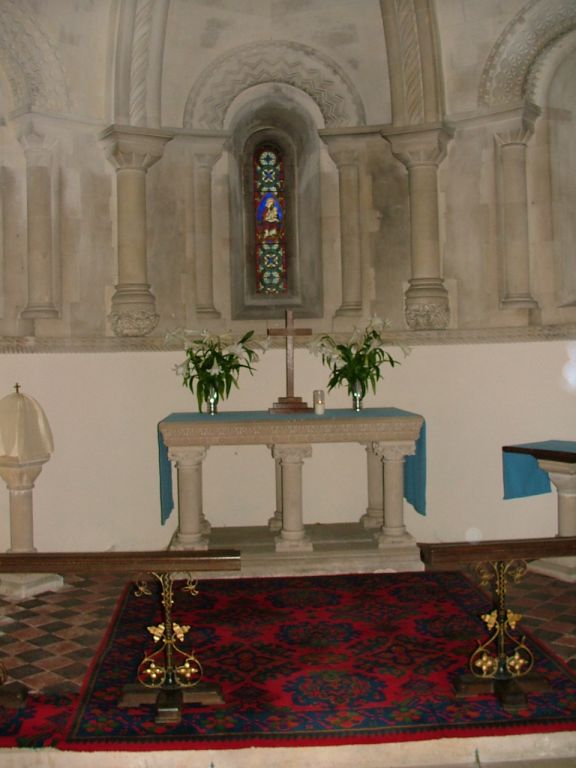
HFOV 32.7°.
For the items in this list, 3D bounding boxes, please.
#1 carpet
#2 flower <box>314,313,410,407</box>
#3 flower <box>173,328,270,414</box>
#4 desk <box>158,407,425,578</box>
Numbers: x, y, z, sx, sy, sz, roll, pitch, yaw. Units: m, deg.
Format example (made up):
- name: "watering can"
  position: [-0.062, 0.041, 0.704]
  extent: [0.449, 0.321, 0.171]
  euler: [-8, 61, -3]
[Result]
- name: "carpet"
  position: [0.174, 1.362, 5.223]
  extent: [2.369, 0.120, 2.086]
  euler: [-1, 7, -2]
- name: "flower"
  position: [0.504, -0.116, 7.180]
  extent: [0.598, 0.504, 0.461]
  euler: [8, -11, -40]
- name: "flower"
  position: [-0.505, -0.106, 7.297]
  extent: [0.660, 0.515, 0.665]
  euler: [0, 1, -12]
- name: "desk"
  position: [-0.012, 0.744, 6.978]
  extent: [1.822, 1.019, 0.993]
  euler: [-1, 0, -8]
